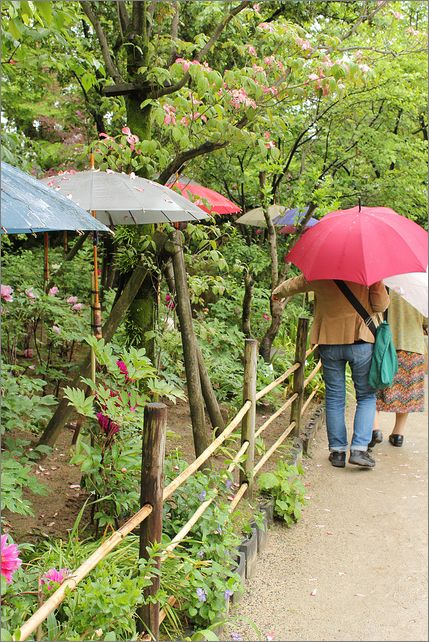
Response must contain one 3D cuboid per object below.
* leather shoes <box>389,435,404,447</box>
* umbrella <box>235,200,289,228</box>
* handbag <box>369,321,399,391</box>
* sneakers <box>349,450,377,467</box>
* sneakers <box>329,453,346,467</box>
[{"bbox_3d":[1.637,1.079,5.003,0.065,0.062,0.156,-1,6,15],"label":"leather shoes"},{"bbox_3d":[0.754,-1.690,9.043,0.944,0.297,0.881,-4,4,-1],"label":"umbrella"},{"bbox_3d":[1.270,0.268,4.217,0.248,0.566,0.600,1,3,18],"label":"handbag"},{"bbox_3d":[1.144,1.073,4.368,0.291,0.129,0.094,17,4,-38],"label":"sneakers"},{"bbox_3d":[0.988,1.114,4.443,0.072,0.072,0.167,1,7,5],"label":"sneakers"}]
